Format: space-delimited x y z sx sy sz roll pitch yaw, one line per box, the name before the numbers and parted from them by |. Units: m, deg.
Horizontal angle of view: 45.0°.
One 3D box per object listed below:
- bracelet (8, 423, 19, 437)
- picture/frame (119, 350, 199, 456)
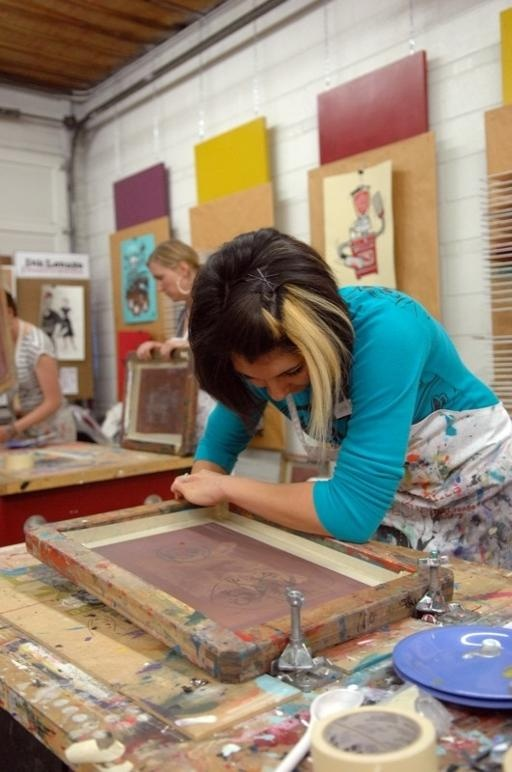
bracelet | -1.116 0.204 2.843 0.015 0.048 0.054 -9 -12 12
picture/frame | -0.391 0.078 2.529 0.065 0.401 0.448 5 -7 -41
